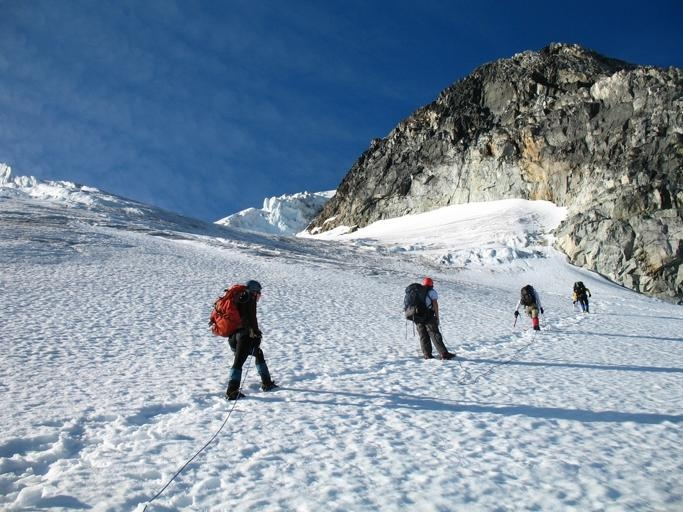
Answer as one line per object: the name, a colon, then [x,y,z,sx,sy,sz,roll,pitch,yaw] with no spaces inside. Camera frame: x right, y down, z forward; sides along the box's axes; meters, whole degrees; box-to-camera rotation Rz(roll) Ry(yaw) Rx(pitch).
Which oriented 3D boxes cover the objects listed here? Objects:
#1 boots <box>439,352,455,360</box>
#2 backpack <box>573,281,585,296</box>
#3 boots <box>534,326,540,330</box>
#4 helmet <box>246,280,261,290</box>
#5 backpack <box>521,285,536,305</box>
boots: [3.022,2.834,14.825,0.470,0.210,0.218,4,-3,-2]
backpack: [11.051,1.584,24.147,0.515,0.750,0.595,4,-3,18]
boots: [7.095,2.628,18.966,0.221,0.117,0.183,0,-12,-5]
helmet: [-1.980,0.667,11.898,0.342,0.247,0.246,4,1,-32]
backpack: [6.746,1.442,18.974,0.420,0.751,0.588,7,-4,-28]
